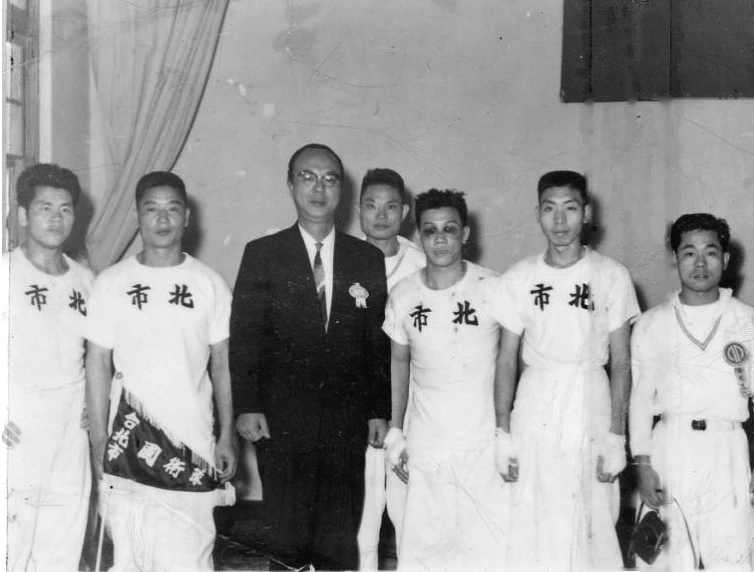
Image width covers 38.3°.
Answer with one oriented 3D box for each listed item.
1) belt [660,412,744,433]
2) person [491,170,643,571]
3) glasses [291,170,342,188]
[{"bbox_3d":[1.308,0.549,4.376,0.352,0.072,0.016,0,-14,7],"label":"belt"},{"bbox_3d":[0.752,0.348,4.376,0.528,1.560,0.425,1,-14,6],"label":"person"},{"bbox_3d":[-0.237,-0.427,4.365,0.193,0.061,0.018,2,-14,-4],"label":"glasses"}]
